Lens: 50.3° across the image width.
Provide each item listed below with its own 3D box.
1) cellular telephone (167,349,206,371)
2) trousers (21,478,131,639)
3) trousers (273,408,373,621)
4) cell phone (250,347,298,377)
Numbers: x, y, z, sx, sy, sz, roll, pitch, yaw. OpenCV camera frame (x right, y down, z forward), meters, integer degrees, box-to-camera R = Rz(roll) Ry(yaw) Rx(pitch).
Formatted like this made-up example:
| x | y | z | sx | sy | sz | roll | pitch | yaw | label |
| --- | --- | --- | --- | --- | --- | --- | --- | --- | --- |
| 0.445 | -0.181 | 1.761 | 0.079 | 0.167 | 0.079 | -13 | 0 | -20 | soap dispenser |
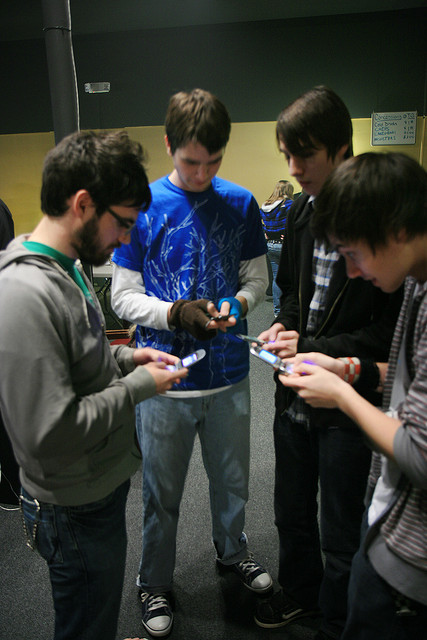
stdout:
| x | y | z | sx | sy | sz | roll | pitch | yaw | label |
| --- | --- | --- | --- | --- | --- | --- | --- | --- | --- |
| -0.088 | 0.121 | 1.416 | 0.102 | 0.026 | 0.031 | -27 | -14 | -19 | cellular telephone |
| -0.299 | 0.594 | 1.119 | 0.241 | 0.425 | 0.156 | -8 | 14 | -26 | trousers |
| 0.343 | 0.686 | 1.518 | 0.187 | 0.864 | 0.463 | -5 | 13 | -13 | trousers |
| 0.173 | 0.115 | 1.287 | 0.050 | 0.044 | 0.180 | 41 | 0 | -33 | cell phone |
